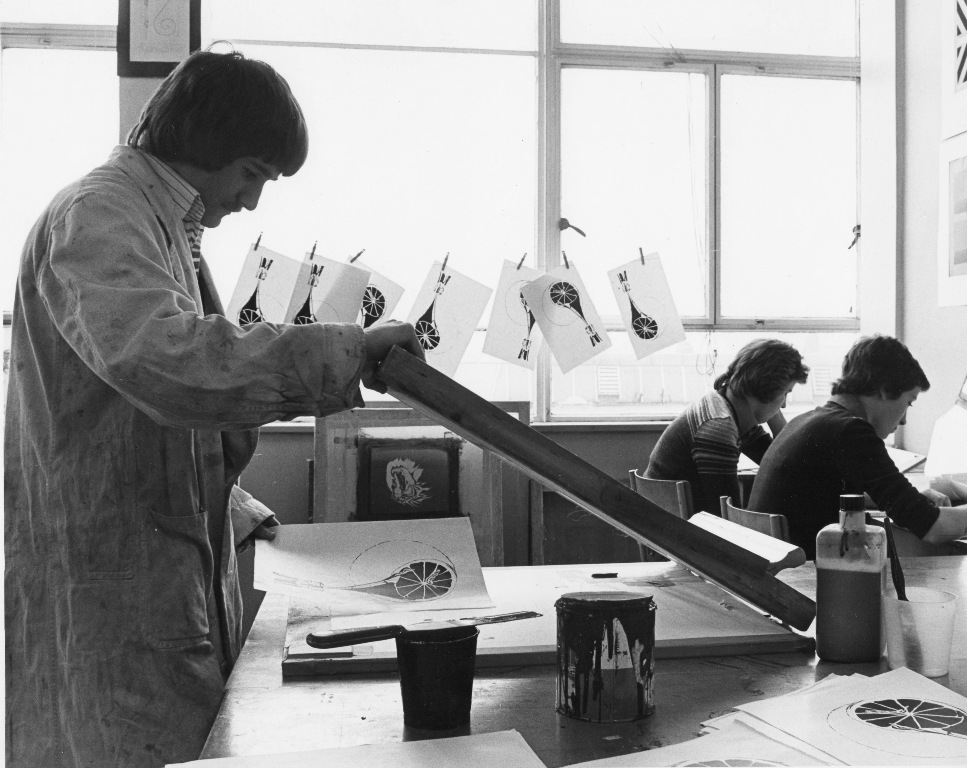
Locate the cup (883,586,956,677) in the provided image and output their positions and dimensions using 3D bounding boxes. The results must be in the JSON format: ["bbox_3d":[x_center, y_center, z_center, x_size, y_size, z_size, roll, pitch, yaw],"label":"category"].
[{"bbox_3d":[0.662,0.370,1.663,0.115,0.119,0.099,-2,-1,23],"label":"cup"}]

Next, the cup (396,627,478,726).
[{"bbox_3d":[-0.063,0.393,1.505,0.124,0.113,0.114,0,-6,0],"label":"cup"}]

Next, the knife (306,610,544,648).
[{"bbox_3d":[-0.094,0.379,1.695,0.264,0.021,0.054,-4,-18,-11],"label":"knife"}]
